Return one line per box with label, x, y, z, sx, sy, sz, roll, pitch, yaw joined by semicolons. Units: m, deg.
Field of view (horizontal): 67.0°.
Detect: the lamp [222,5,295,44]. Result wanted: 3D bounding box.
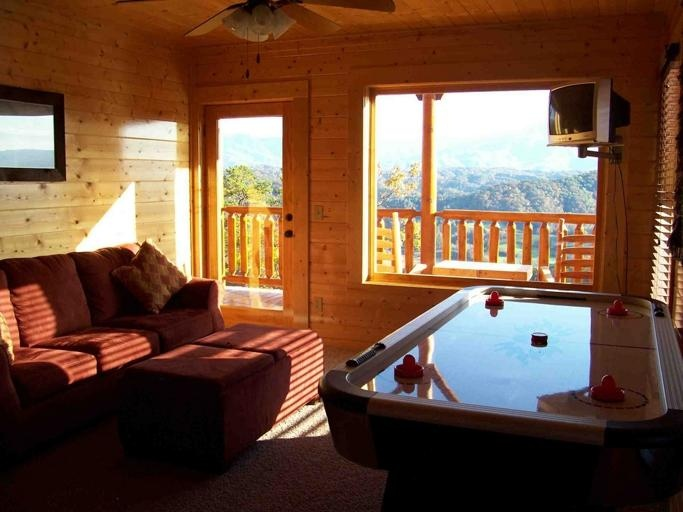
lamp;-0.455;-1.293;2.832;0.311;0.168;0.237;-8;12;-41
